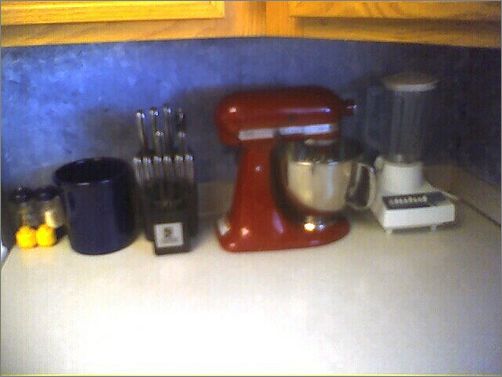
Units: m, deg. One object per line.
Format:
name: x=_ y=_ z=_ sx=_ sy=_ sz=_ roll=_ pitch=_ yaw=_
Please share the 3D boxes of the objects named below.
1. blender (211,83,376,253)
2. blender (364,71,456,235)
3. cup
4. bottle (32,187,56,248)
blender: x=0.067 y=-0.050 z=0.980 sx=0.289 sy=0.325 sz=0.173 roll=-3 pitch=18 yaw=-4
blender: x=0.377 y=-0.093 z=1.065 sx=0.191 sy=0.330 sz=0.177 roll=-3 pitch=14 yaw=-21
cup: x=-0.295 y=0.032 z=0.980 sx=0.203 sy=0.162 sz=0.159 roll=-4 pitch=27 yaw=-15
bottle: x=-0.448 y=0.061 z=1.006 sx=0.049 sy=0.119 sz=0.050 roll=2 pitch=6 yaw=0
